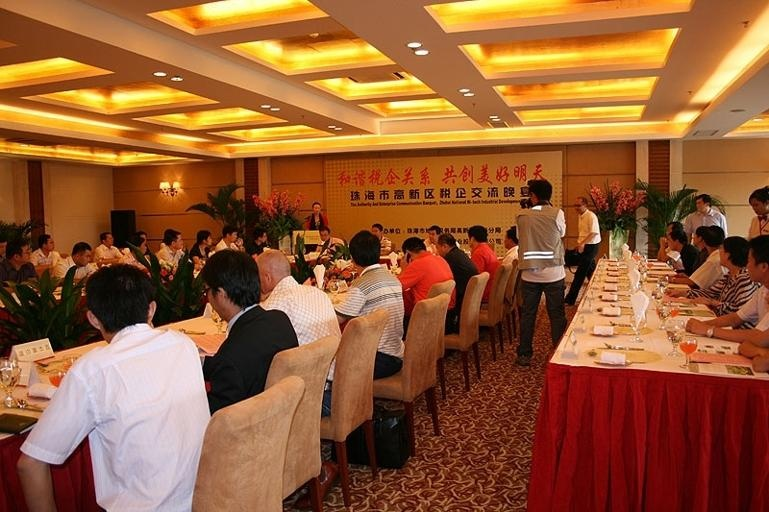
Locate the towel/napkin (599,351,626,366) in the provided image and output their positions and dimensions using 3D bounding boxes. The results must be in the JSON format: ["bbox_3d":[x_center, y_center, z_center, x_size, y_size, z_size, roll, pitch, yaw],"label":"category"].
[{"bbox_3d":[1.289,0.581,3.055,0.088,0.034,0.091,1,17,13],"label":"towel/napkin"}]

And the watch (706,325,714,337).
[{"bbox_3d":[2.121,0.500,3.540,0.015,0.054,0.055,12,13,24],"label":"watch"}]

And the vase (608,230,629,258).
[{"bbox_3d":[4.125,-0.211,9.574,0.280,0.488,0.449,6,12,23],"label":"vase"}]

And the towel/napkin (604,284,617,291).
[{"bbox_3d":[2.193,0.315,5.232,0.097,0.025,0.092,3,9,28],"label":"towel/napkin"}]

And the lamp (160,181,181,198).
[{"bbox_3d":[-5.148,-1.612,13.068,0.378,0.300,0.192,-1,-14,12],"label":"lamp"}]

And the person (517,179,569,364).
[{"bbox_3d":[1.629,0.138,5.528,0.570,1.941,0.582,-5,11,3],"label":"person"}]

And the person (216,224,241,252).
[{"bbox_3d":[-2.600,-0.312,9.078,0.445,0.528,0.740,-5,8,-17],"label":"person"}]

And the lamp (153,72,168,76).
[{"bbox_3d":[-2.576,-2.090,6.215,0.144,0.035,0.236,-3,12,-22],"label":"lamp"}]

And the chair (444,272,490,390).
[{"bbox_3d":[0.670,0.710,5.333,0.673,0.995,0.606,0,3,14],"label":"chair"}]

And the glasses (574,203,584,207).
[{"bbox_3d":[3.045,-0.774,8.423,0.105,0.052,0.077,4,11,11],"label":"glasses"}]

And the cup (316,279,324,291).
[{"bbox_3d":[-0.597,0.270,5.003,0.055,0.060,0.106,-4,7,-1],"label":"cup"}]

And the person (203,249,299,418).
[{"bbox_3d":[-0.718,0.430,2.946,0.446,0.890,0.504,33,38,26],"label":"person"}]

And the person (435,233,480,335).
[{"bbox_3d":[0.747,0.219,5.964,0.511,0.945,0.383,-7,23,5],"label":"person"}]

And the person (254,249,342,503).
[{"bbox_3d":[-0.645,0.554,3.701,0.621,1.252,0.443,0,20,2],"label":"person"}]

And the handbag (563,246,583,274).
[{"bbox_3d":[3.085,0.054,8.826,0.312,0.465,0.450,6,5,0],"label":"handbag"}]

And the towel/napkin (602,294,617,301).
[{"bbox_3d":[1.916,0.362,4.614,0.083,0.020,0.080,-6,8,-43],"label":"towel/napkin"}]

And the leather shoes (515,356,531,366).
[{"bbox_3d":[1.440,1.095,5.602,0.136,0.147,0.086,-1,1,16],"label":"leather shoes"}]

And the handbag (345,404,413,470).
[{"bbox_3d":[-0.060,1.323,3.997,0.467,0.432,0.271,-4,3,25],"label":"handbag"}]

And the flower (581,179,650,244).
[{"bbox_3d":[4.103,-0.781,9.653,0.940,1.181,0.983,3,3,28],"label":"flower"}]

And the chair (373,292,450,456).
[{"bbox_3d":[0.098,0.916,4.279,0.691,1.141,0.664,1,2,22],"label":"chair"}]

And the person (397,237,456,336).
[{"bbox_3d":[0.380,0.288,5.339,0.431,1.005,0.583,-27,35,-37],"label":"person"}]
